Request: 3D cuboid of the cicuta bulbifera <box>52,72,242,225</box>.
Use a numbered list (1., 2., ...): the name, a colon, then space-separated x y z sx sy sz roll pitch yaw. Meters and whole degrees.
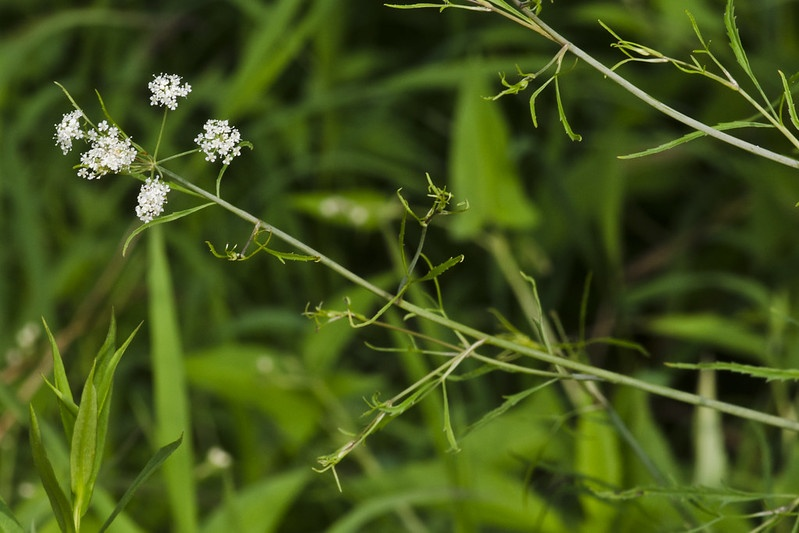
1. cicuta bulbifera: -0.217 -0.101 0.818 0.179 0.188 0.068 -12 -9 -16
